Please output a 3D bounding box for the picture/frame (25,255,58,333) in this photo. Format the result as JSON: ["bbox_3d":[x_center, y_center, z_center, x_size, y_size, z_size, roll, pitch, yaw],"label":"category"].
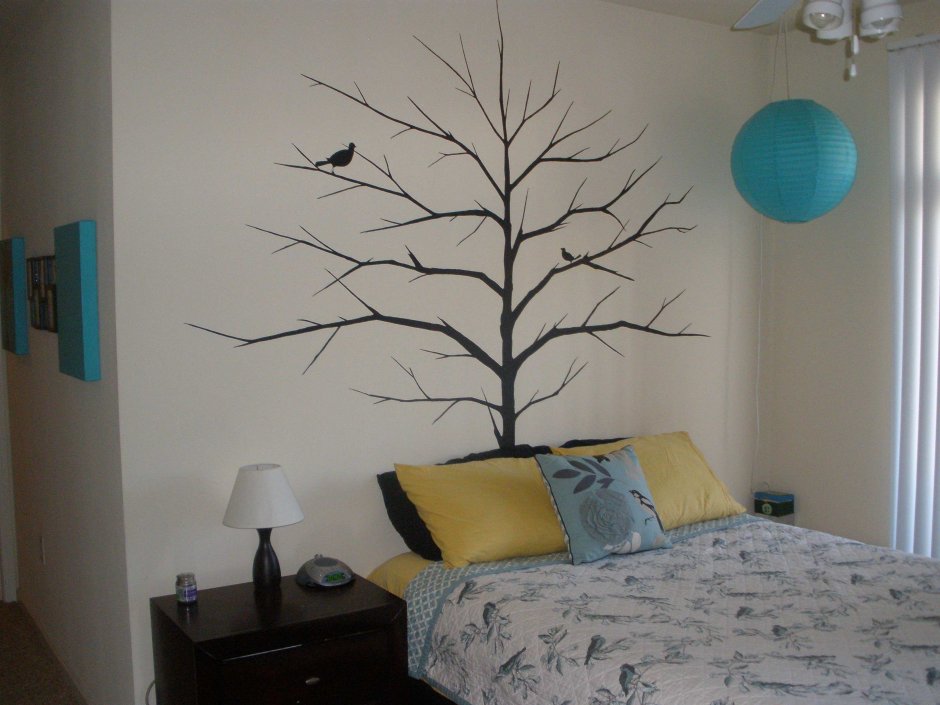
[{"bbox_3d":[-2.001,-0.282,3.621,0.125,0.371,0.354,-2,4,-26],"label":"picture/frame"}]

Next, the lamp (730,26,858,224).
[{"bbox_3d":[1.509,-0.869,3.598,0.474,0.585,0.455,2,2,45],"label":"lamp"}]

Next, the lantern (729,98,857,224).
[{"bbox_3d":[1.416,-0.850,3.661,0.521,0.647,0.533,-2,8,-2],"label":"lantern"}]

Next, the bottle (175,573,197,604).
[{"bbox_3d":[-1.035,0.871,2.856,0.105,0.112,0.075,0,3,-28],"label":"bottle"}]

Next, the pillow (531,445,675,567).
[{"bbox_3d":[0.535,0.631,3.146,0.441,0.450,0.141,-5,-28,-37],"label":"pillow"}]
